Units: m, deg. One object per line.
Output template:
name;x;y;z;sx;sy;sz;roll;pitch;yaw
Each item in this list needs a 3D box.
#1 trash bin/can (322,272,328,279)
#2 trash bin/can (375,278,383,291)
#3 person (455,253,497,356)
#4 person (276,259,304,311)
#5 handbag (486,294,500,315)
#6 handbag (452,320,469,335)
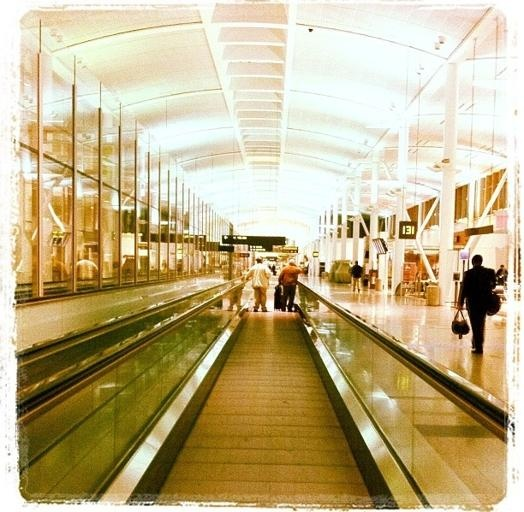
trash bin/can;5.758;1.764;44.169;0.388;0.493;0.804;1;-8;5
trash bin/can;5.662;1.395;23.776;0.272;0.578;0.301;-1;1;10
person;3.243;0.826;7.404;0.550;1.350;0.430;-1;1;14
person;0.894;0.895;15.238;0.671;1.741;0.452;3;21;-7
handbag;3.509;0.722;7.435;0.196;0.342;0.416;-1;1;25
handbag;2.924;1.063;7.242;0.188;0.290;0.114;5;42;21
